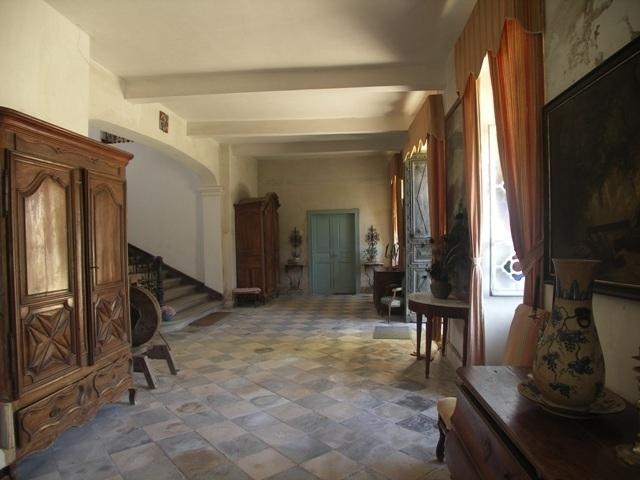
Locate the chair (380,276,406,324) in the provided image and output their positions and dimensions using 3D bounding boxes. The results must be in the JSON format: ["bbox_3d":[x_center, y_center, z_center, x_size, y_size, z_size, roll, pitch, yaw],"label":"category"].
[{"bbox_3d":[1.379,1.096,8.118,0.598,1.006,0.662,0,0,-5],"label":"chair"}]

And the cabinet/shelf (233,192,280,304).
[{"bbox_3d":[-1.436,0.173,10.407,0.727,2.603,1.653,0,3,27],"label":"cabinet/shelf"}]

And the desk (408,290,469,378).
[{"bbox_3d":[1.377,1.084,5.084,0.864,0.647,0.515,7,-2,-29],"label":"desk"}]

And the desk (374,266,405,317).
[{"bbox_3d":[1.303,1.032,8.681,0.735,1.178,0.733,0,-1,1],"label":"desk"}]

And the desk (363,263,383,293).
[{"bbox_3d":[1.271,0.962,11.376,0.620,0.841,0.663,0,-1,4],"label":"desk"}]

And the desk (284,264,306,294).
[{"bbox_3d":[-0.702,1.036,11.855,0.525,0.720,0.220,-2,3,-7],"label":"desk"}]

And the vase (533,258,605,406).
[{"bbox_3d":[1.293,0.490,2.290,0.323,0.780,0.162,1,4,35],"label":"vase"}]

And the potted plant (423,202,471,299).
[{"bbox_3d":[1.551,0.170,5.324,0.453,1.121,0.773,-1,3,15],"label":"potted plant"}]
